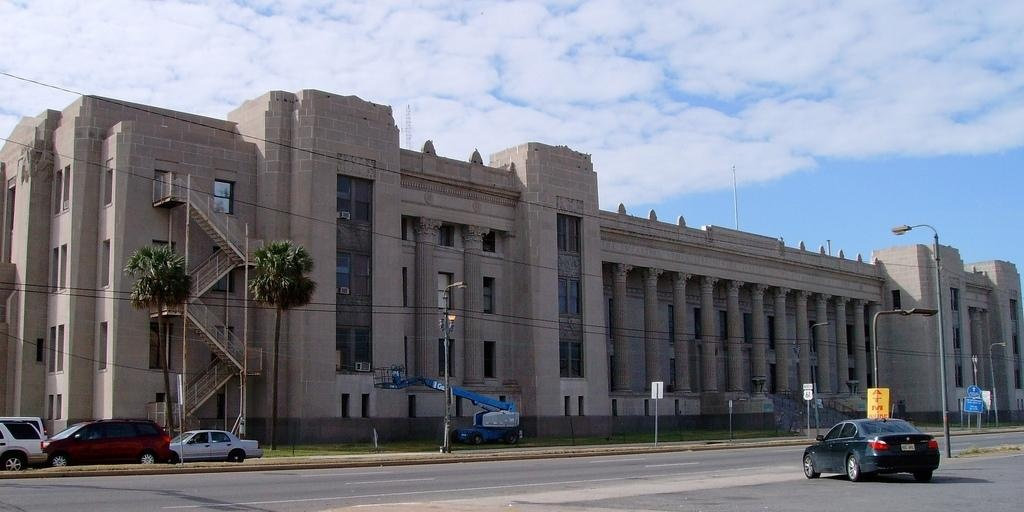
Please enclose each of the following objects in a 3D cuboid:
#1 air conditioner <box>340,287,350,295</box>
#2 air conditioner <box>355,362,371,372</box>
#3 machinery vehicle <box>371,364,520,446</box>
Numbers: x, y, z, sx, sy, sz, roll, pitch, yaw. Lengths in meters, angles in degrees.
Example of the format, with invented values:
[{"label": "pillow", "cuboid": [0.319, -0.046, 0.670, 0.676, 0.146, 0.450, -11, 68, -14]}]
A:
[{"label": "air conditioner", "cuboid": [-17.358, 3.657, 129.129, 1.338, 0.815, 0.664, 1, 0, -13]}, {"label": "air conditioner", "cuboid": [-15.448, 11.479, 128.982, 1.798, 1.101, 0.904, 3, -12, -20]}, {"label": "machinery vehicle", "cuboid": [-9.223, 16.588, 130.728, 22.066, 9.260, 5.902, 6, -19, -19]}]
